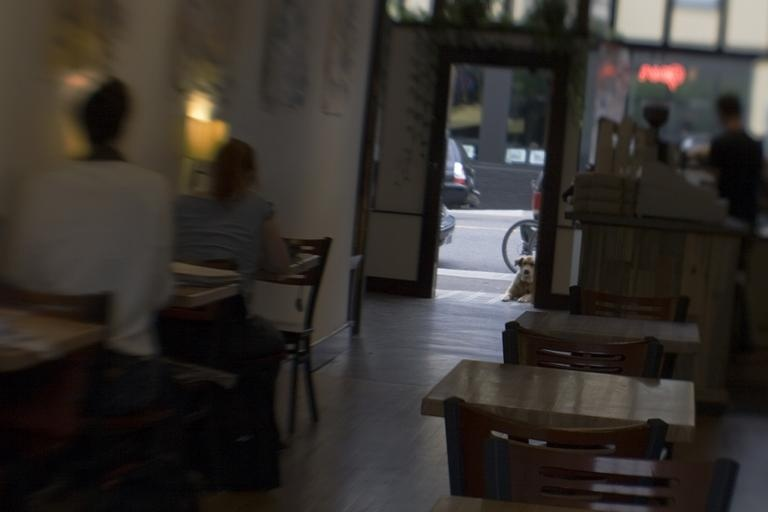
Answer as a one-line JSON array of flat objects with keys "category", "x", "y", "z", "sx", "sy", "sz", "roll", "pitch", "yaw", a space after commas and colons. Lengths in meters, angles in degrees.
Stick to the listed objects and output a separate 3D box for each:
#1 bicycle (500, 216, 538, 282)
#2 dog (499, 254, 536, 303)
[{"category": "bicycle", "x": 0.966, "y": -0.060, "z": 4.522, "sx": 0.361, "sy": 0.363, "sz": 0.149, "roll": -13, "pitch": -3, "yaw": -4}, {"category": "dog", "x": 0.800, "y": 0.123, "z": 3.568, "sx": 0.156, "sy": 0.276, "sz": 0.526, "roll": 11, "pitch": 2, "yaw": 18}]
